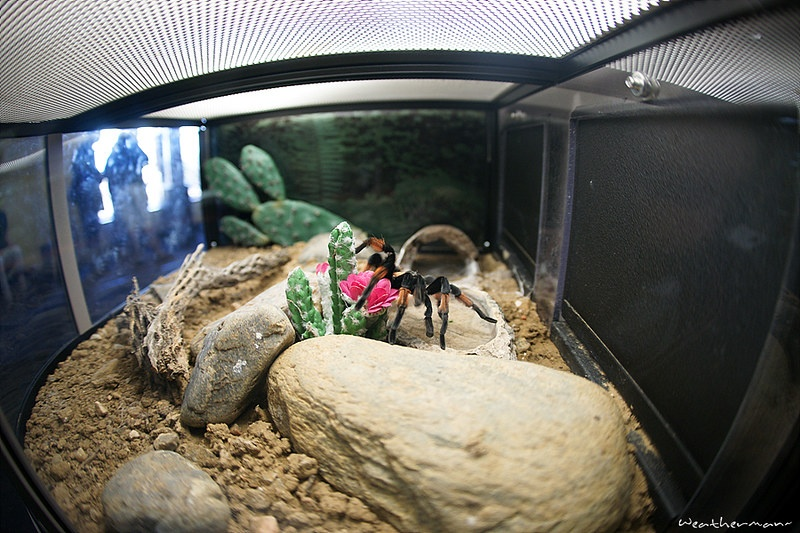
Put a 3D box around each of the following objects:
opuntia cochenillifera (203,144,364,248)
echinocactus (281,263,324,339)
[{"bbox_3d":[-0.949,-0.505,3.841,0.502,0.786,0.873,1,7,18],"label":"opuntia cochenillifera"},{"bbox_3d":[-0.403,0.182,2.212,0.145,0.362,0.134,-22,35,-11],"label":"echinocactus"}]
